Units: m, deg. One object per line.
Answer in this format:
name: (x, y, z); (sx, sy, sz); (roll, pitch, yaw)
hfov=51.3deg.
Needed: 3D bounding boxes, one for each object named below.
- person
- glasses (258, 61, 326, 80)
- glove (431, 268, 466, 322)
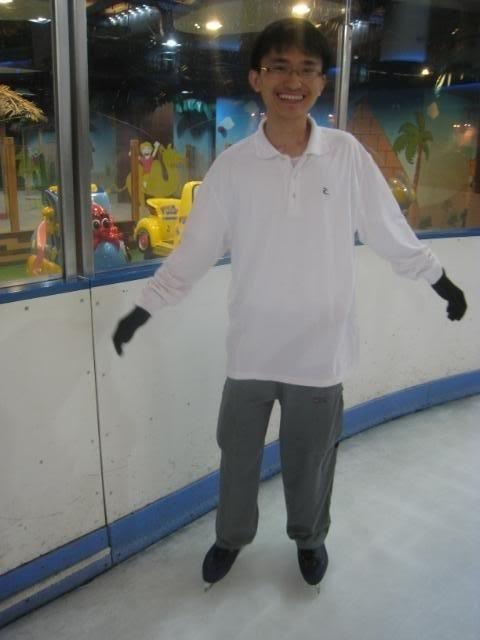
person: (0.112, 0.031, 1.330); (0.829, 1.484, 0.308); (-2, 8, -12)
glasses: (0.116, -0.577, 1.146); (0.139, 0.053, 0.046); (0, 9, 1)
glove: (0.612, -0.069, 1.470); (0.081, 0.172, 0.057); (-12, 24, 21)
